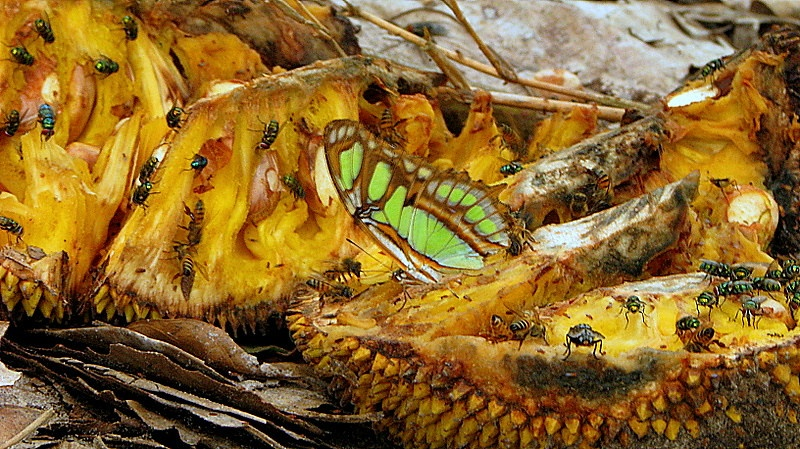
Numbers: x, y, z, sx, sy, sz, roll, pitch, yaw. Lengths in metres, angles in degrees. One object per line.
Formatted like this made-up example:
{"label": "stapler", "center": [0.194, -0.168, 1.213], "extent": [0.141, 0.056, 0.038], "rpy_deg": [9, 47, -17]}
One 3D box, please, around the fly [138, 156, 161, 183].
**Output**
{"label": "fly", "center": [-1.509, -0.328, 10.581], "extent": [0.128, 0.158, 0.050], "rpy_deg": [36, -11, -10]}

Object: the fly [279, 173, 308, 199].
{"label": "fly", "center": [-0.637, -0.234, 10.689], "extent": [0.048, 0.152, 0.116], "rpy_deg": [-10, 42, 37]}

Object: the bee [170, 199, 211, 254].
{"label": "bee", "center": [-1.245, 0.031, 10.489], "extent": [0.207, 0.357, 0.137], "rpy_deg": [0, 0, -28]}

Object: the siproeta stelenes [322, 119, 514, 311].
{"label": "siproeta stelenes", "center": [0.112, -0.108, 10.105], "extent": [1.051, 0.966, 0.175], "rpy_deg": [-1, 18, 0]}

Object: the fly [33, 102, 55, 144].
{"label": "fly", "center": [-2.140, -0.613, 10.609], "extent": [0.153, 0.186, 0.060], "rpy_deg": [-2, -13, -38]}

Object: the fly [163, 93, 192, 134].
{"label": "fly", "center": [-1.329, -0.663, 10.737], "extent": [0.065, 0.196, 0.189], "rpy_deg": [14, -3, -39]}

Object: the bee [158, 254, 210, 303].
{"label": "bee", "center": [-1.268, 0.310, 10.435], "extent": [0.194, 0.304, 0.238], "rpy_deg": [2, 2, -7]}

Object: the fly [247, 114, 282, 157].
{"label": "fly", "center": [-0.813, -0.533, 10.593], "extent": [0.211, 0.192, 0.062], "rpy_deg": [19, -1, -30]}

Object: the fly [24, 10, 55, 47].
{"label": "fly", "center": [-2.193, -1.191, 10.691], "extent": [0.145, 0.147, 0.048], "rpy_deg": [-39, 31, -27]}

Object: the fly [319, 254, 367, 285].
{"label": "fly", "center": [-0.330, 0.283, 10.494], "extent": [0.216, 0.061, 0.157], "rpy_deg": [0, 18, 30]}
